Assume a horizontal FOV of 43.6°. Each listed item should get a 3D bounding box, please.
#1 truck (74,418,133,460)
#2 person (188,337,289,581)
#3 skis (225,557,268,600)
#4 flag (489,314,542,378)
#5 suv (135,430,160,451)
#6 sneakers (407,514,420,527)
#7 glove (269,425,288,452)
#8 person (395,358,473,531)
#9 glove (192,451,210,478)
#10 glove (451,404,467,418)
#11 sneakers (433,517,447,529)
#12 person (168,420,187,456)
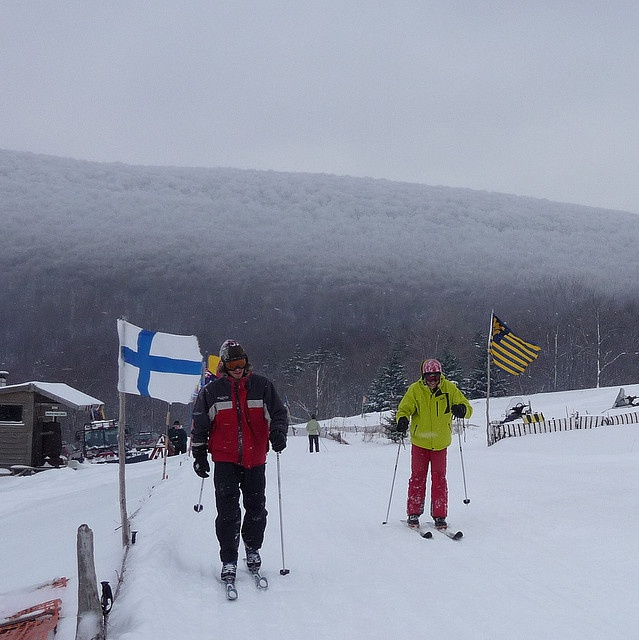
[{"bbox_3d":[-8.586,4.526,32.016,1.645,2.066,2.913,-1,-12,-16],"label":"truck"},{"bbox_3d":[-0.779,1.374,7.808,0.885,2.286,0.486,0,-5,-6],"label":"person"},{"bbox_3d":[-0.709,2.498,7.689,0.214,0.109,0.803,2,0,-8],"label":"skis"},{"bbox_3d":[4.970,0.647,20.865,1.199,1.521,0.743,-3,-6,26],"label":"flag"},{"bbox_3d":[-7.990,5.567,36.489,0.772,0.841,1.955,0,-1,0],"label":"suv"},{"bbox_3d":[1.158,2.463,9.805,0.093,0.179,0.145,5,-4,-31],"label":"sneakers"},{"bbox_3d":[-0.395,1.147,7.660,0.145,0.199,0.204,0,-6,-12],"label":"glove"},{"bbox_3d":[1.358,1.503,9.771,0.870,2.050,0.550,-1,-5,0],"label":"person"},{"bbox_3d":[-1.142,1.424,7.775,0.077,0.300,0.189,-1,-1,4],"label":"glove"},{"bbox_3d":[1.702,1.094,9.778,0.137,0.180,0.139,15,3,43],"label":"glove"},{"bbox_3d":[1.451,2.456,9.667,0.063,0.120,0.215,1,-6,-2],"label":"sneakers"},{"bbox_3d":[-4.590,3.839,25.982,0.562,1.088,2.843,0,-6,-9],"label":"person"}]
